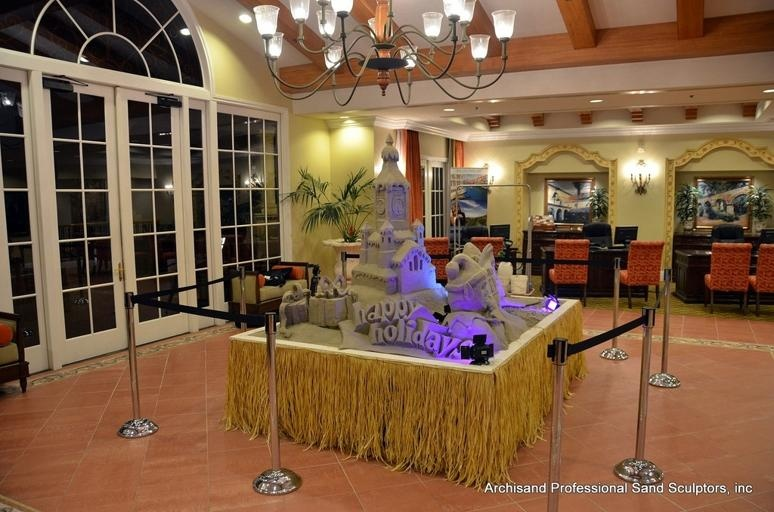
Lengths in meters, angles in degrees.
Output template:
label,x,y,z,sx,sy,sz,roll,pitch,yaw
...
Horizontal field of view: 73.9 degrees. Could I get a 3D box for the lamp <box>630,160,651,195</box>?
label,x,y,z,sx,sy,sz,roll,pitch,yaw
lamp,6.212,-1.900,12.634,0.417,0.677,0.442,1,-4,25

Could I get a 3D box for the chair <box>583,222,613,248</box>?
label,x,y,z,sx,sy,sz,roll,pitch,yaw
chair,4.673,-0.462,11.285,0.555,0.756,0.675,0,-1,11

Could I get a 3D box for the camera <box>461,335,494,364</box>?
label,x,y,z,sx,sy,sz,roll,pitch,yaw
camera,0.766,0.796,4.360,0.251,0.223,0.137,1,3,19

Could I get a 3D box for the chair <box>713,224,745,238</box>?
label,x,y,z,sx,sy,sz,roll,pitch,yaw
chair,7.545,-0.477,11.384,0.409,0.394,0.402,4,-2,24

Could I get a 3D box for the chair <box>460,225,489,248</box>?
label,x,y,z,sx,sy,sz,roll,pitch,yaw
chair,2.114,-0.529,12.397,0.579,0.595,0.592,3,-4,10

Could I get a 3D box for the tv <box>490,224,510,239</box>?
label,x,y,z,sx,sy,sz,roll,pitch,yaw
tv,2.794,-0.602,12.713,0.517,0.468,0.354,0,0,14

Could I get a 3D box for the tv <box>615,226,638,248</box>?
label,x,y,z,sx,sy,sz,roll,pitch,yaw
tv,5.168,-0.403,11.110,0.504,0.455,0.210,2,5,14
